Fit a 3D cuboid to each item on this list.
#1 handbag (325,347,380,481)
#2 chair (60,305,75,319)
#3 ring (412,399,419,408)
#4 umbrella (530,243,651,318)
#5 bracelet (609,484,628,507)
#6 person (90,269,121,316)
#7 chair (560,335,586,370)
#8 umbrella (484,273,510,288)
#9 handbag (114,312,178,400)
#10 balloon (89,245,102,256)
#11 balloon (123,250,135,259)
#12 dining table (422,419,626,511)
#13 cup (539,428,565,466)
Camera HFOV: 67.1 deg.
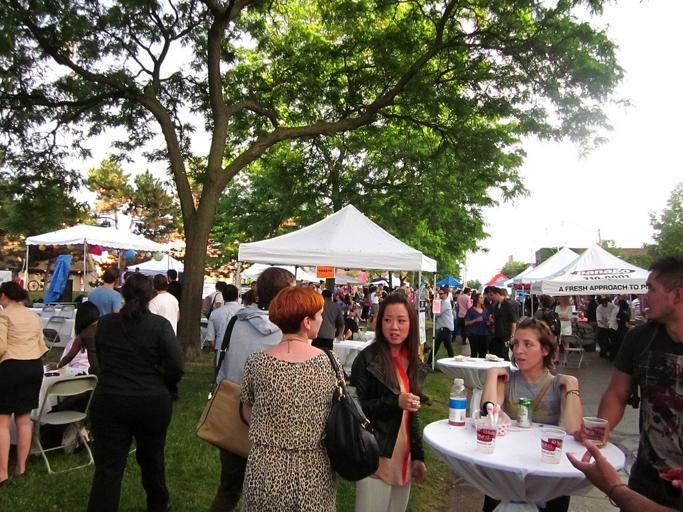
[{"bbox_3d":[0.067,1.132,3.636,0.398,0.881,0.255,2,-2,3],"label":"handbag"},{"bbox_3d":[-7.141,1.485,13.577,0.273,0.483,0.340,2,-3,-24],"label":"chair"},{"bbox_3d":[0.585,1.180,4.103,0.055,0.044,0.028,28,-5,2],"label":"ring"},{"bbox_3d":[7.627,0.842,16.363,3.072,1.591,3.304,0,-8,6],"label":"umbrella"},{"bbox_3d":[1.614,1.429,3.051,0.134,0.140,0.036,8,-4,-42],"label":"bracelet"},{"bbox_3d":[-3.964,0.611,8.715,0.519,0.799,0.479,7,12,2],"label":"person"},{"bbox_3d":[7.075,2.947,15.766,0.703,0.928,1.245,0,-45,19],"label":"chair"},{"bbox_3d":[11.222,1.803,36.749,2.046,1.142,2.191,-6,-8,16],"label":"umbrella"},{"bbox_3d":[-1.834,0.934,4.784,0.658,1.019,0.396,-3,-6,4],"label":"handbag"},{"bbox_3d":[-7.523,-0.186,15.843,0.365,0.225,0.378,2,-11,-18],"label":"balloon"},{"bbox_3d":[-7.379,-0.004,17.927,0.412,0.340,0.429,-2,10,-21],"label":"balloon"},{"bbox_3d":[1.288,1.562,3.879,0.831,0.251,0.859,3,-1,-26],"label":"dining table"},{"bbox_3d":[1.585,1.424,3.875,0.201,0.225,0.202,4,-5,0],"label":"cup"}]
